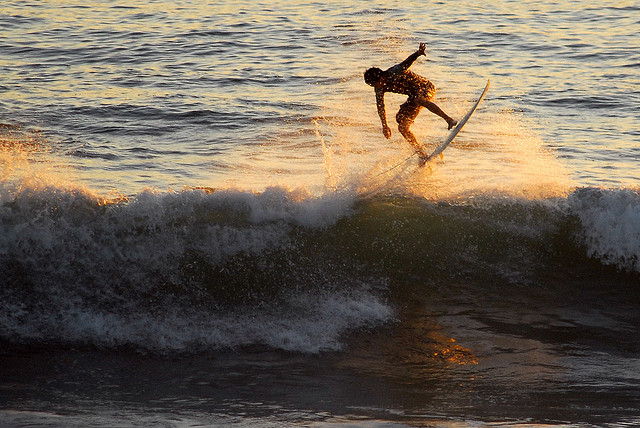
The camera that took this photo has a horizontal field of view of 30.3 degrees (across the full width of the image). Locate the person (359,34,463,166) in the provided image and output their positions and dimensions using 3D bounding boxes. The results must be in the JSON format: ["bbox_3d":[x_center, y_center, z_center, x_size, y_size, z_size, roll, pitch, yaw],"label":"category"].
[{"bbox_3d":[1.608,-2.098,21.647,1.626,2.102,1.256,-28,-19,27],"label":"person"}]

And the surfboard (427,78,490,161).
[{"bbox_3d":[2.545,-1.621,22.303,0.710,1.287,1.820,10,20,10],"label":"surfboard"}]
